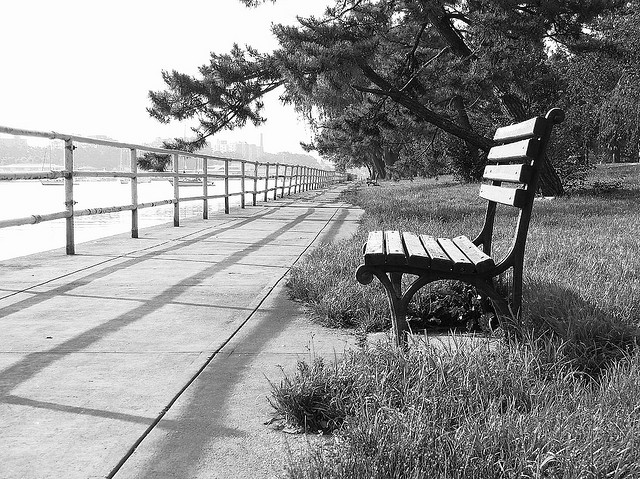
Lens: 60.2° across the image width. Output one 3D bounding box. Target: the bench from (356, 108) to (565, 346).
[{"bbox_3d":[0.758,-0.126,3.344,1.025,1.234,1.320,0,10,6],"label":"bench"}]
